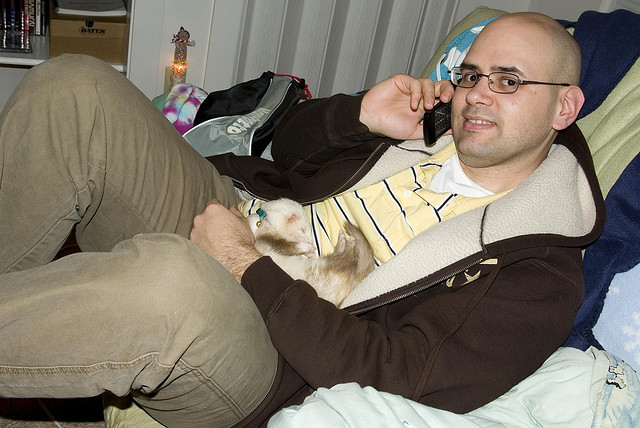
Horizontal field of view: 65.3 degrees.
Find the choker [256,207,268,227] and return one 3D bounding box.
[{"bbox_3d":[-0.202,0.008,1.710,0.037,0.055,0.015,-4,-3,26],"label":"choker"}]

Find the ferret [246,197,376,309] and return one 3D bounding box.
[{"bbox_3d":[-0.063,0.114,1.647,0.477,0.246,0.187,17,21,23],"label":"ferret"}]

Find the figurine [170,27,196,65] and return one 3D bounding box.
[{"bbox_3d":[-0.833,-1.010,2.983,0.151,0.204,0.088,7,18,0],"label":"figurine"}]
